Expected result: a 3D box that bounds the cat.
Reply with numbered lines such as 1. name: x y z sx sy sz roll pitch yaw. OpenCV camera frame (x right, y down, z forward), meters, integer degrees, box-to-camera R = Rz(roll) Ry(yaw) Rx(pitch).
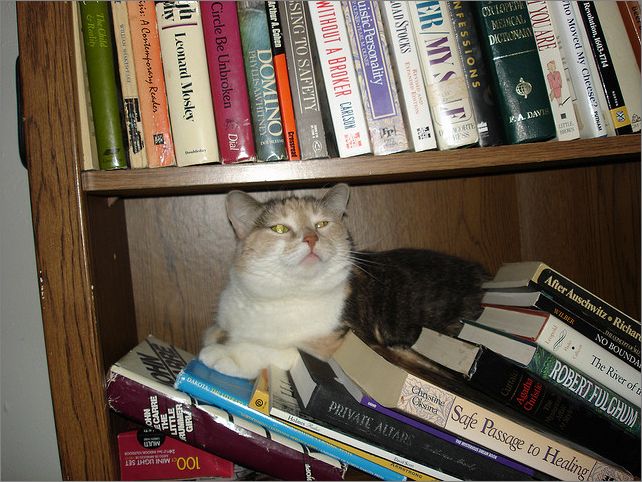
1. cat: 0.071 0.139 1.687 0.808 0.464 0.544 -1 -7 -31
